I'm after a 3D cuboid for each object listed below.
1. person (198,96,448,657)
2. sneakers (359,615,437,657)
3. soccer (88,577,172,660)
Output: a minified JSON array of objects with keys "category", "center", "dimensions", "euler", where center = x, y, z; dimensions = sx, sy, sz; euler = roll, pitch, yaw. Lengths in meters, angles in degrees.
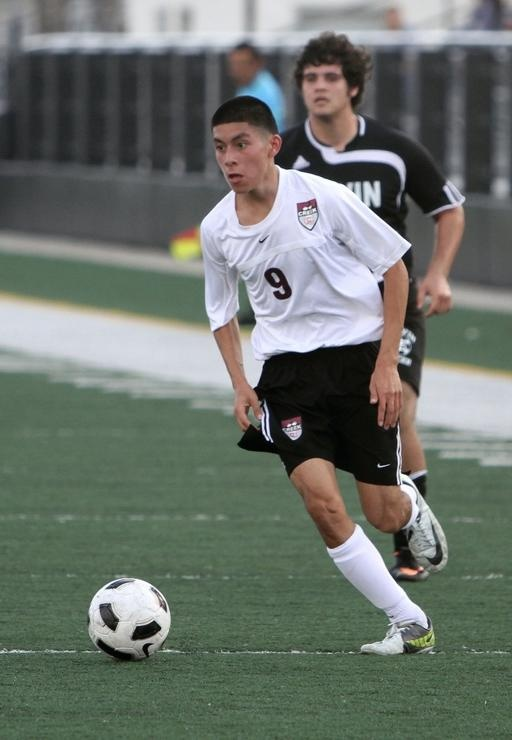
[{"category":"person","center":[0.175,0.023,3.200],"dimensions":[0.696,1.514,0.433],"euler":[2,8,4]},{"category":"sneakers","center":[0.411,0.749,3.212],"dimensions":[0.246,0.092,0.079],"euler":[0,-4,-10]},{"category":"soccer","center":[-0.360,0.666,3.130],"dimensions":[0.232,0.190,0.211],"euler":[1,12,-10]}]
